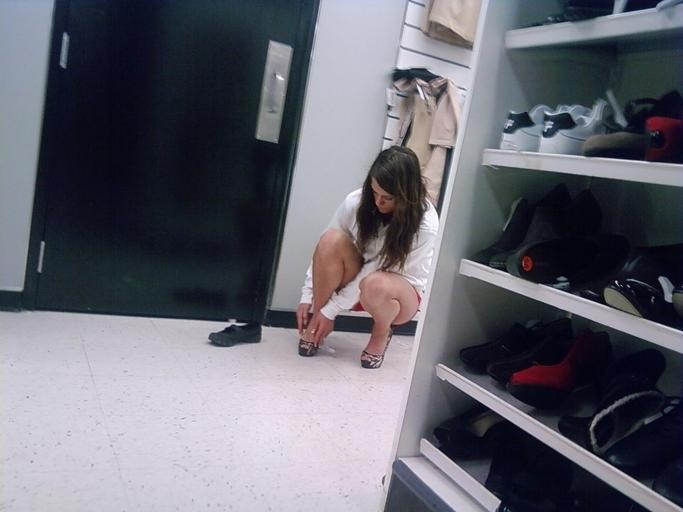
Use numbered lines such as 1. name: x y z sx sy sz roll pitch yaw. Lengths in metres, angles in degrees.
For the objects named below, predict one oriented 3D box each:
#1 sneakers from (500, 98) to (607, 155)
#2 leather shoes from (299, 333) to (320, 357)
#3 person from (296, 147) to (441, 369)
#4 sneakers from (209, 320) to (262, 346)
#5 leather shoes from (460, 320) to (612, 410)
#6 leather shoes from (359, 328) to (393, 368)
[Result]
1. sneakers: 0.582 -0.384 1.308 0.241 0.092 0.172 -13 24 -30
2. leather shoes: -0.172 0.472 2.527 0.066 0.060 0.140 2 8 5
3. person: 0.166 -0.028 2.533 0.663 1.059 0.699 9 35 0
4. sneakers: -0.556 0.398 2.539 0.283 0.121 0.097 0 5 -35
5. leather shoes: 0.595 0.298 1.396 0.317 0.124 0.251 -8 15 -18
6. leather shoes: 0.186 0.516 2.614 0.221 0.166 0.118 -1 3 -43
